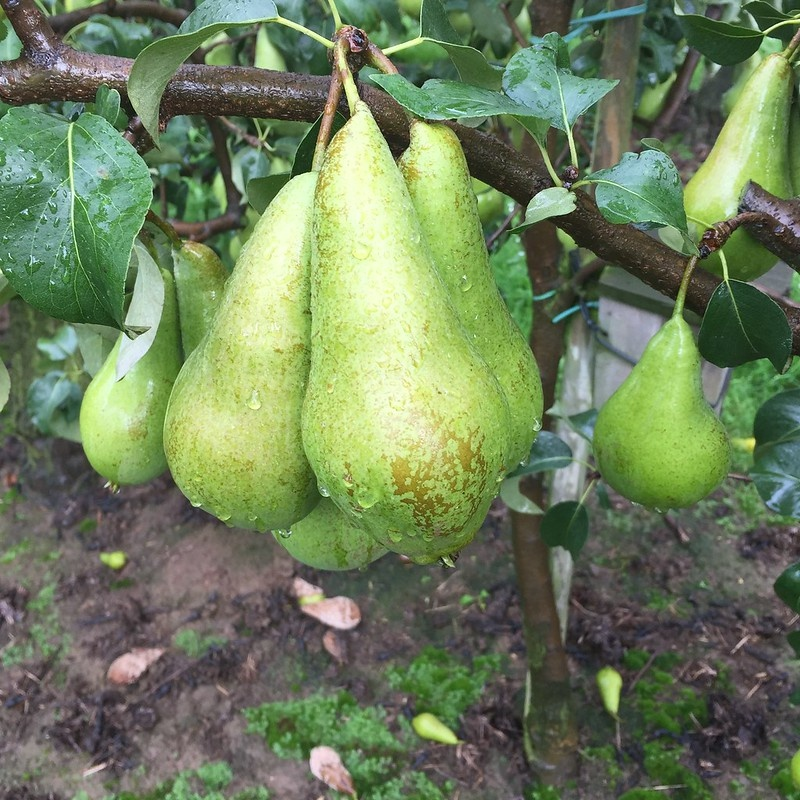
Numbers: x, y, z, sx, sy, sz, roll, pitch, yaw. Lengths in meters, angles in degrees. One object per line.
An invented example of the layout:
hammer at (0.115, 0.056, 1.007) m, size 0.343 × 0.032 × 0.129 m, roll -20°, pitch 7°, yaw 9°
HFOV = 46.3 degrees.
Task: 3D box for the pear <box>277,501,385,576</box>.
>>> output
pear at (-0.099, 0.201, 1.362) m, size 0.102 × 0.136 × 0.086 m, roll 6°, pitch 81°, yaw -2°

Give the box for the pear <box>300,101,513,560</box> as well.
pear at (-0.007, -0.073, 1.125) m, size 0.243 × 0.592 × 0.252 m, roll -17°, pitch 24°, yaw -18°

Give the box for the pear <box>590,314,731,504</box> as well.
pear at (0.413, 0.016, 1.464) m, size 0.194 × 0.318 × 0.221 m, roll 5°, pitch 37°, yaw 11°

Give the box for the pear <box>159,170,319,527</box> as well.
pear at (-0.195, -0.059, 1.161) m, size 0.186 × 0.329 × 0.285 m, roll -1°, pitch 47°, yaw -3°
